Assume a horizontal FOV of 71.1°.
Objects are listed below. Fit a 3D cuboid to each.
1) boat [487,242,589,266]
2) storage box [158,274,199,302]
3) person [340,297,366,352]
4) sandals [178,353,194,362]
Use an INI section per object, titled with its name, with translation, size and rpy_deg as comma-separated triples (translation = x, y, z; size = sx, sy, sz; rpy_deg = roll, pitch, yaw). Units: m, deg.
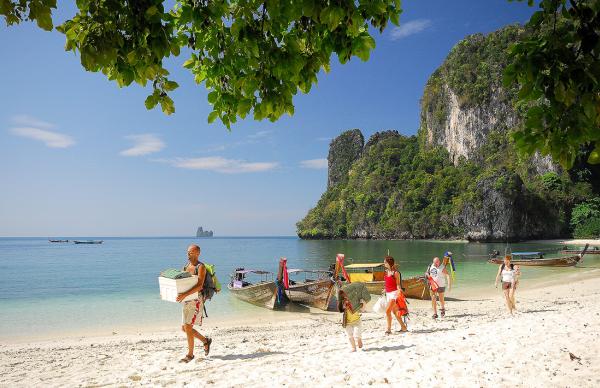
[boat]
translation = 18.672, 5.169, 33.374
size = 4.324, 0.944, 6.567
rpy_deg = -3, -7, -1
[storage box]
translation = -2.806, 2.215, 9.488
size = 0.655, 0.517, 0.686
rpy_deg = -1, 0, 41
[person]
translation = 1.286, 3.180, 10.500
size = 0.456, 1.463, 1.618
rpy_deg = -4, -6, 8
[sandals]
translation = -2.775, 3.979, 10.171
size = 0.149, 0.130, 0.355
rpy_deg = -4, -10, 33
